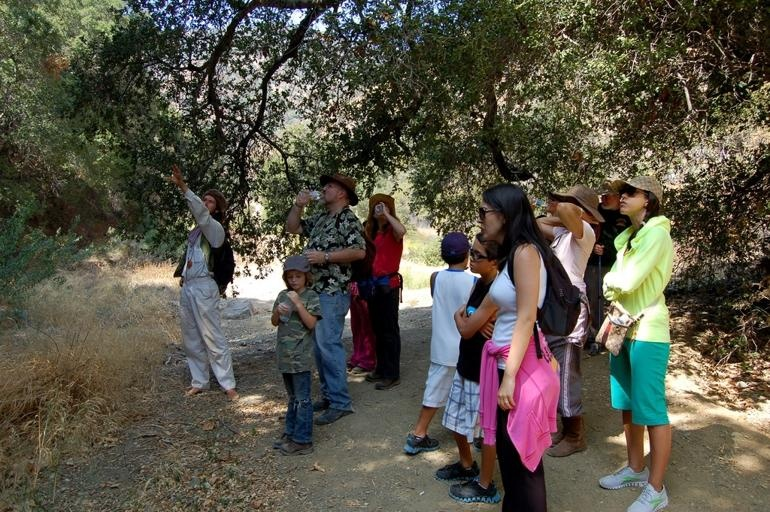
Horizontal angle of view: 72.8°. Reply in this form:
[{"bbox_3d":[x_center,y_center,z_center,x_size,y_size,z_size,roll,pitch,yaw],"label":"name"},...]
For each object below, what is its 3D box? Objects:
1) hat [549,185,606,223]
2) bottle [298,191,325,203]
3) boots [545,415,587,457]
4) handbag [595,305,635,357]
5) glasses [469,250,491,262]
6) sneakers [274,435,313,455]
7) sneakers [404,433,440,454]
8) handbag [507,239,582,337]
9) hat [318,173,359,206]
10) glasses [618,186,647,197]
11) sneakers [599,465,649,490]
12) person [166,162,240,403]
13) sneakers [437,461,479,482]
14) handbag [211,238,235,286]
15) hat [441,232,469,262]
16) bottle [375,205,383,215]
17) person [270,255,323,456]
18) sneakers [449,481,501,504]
[{"bbox_3d":[2.295,-0.632,6.046,0.473,0.208,0.514,29,-2,42],"label":"hat"},{"bbox_3d":[-0.969,-0.785,6.831,0.253,0.140,0.368,0,3,0],"label":"bottle"},{"bbox_3d":[1.933,1.957,5.823,0.429,0.441,0.382,0,-1,-8],"label":"boots"},{"bbox_3d":[2.239,0.720,5.174,0.172,0.460,0.338,15,19,-19],"label":"handbag"},{"bbox_3d":[0.918,0.002,4.989,0.132,0.042,0.134,6,6,-12],"label":"glasses"},{"bbox_3d":[-1.026,2.134,5.862,0.311,0.148,0.197,11,-2,-10],"label":"sneakers"},{"bbox_3d":[0.391,2.067,5.854,0.425,0.207,0.168,0,3,-25],"label":"sneakers"},{"bbox_3d":[1.390,0.314,4.822,0.764,0.806,0.642,2,0,21],"label":"handbag"},{"bbox_3d":[-0.553,-0.911,6.813,0.378,0.181,0.470,4,-27,50],"label":"hat"},{"bbox_3d":[2.459,-0.643,5.205,0.129,0.044,0.131,10,-1,-6],"label":"glasses"},{"bbox_3d":[2.394,2.224,5.328,0.473,0.218,0.212,1,-4,4],"label":"sneakers"},{"bbox_3d":[-2.399,0.364,7.081,0.732,3.050,0.863,-4,5,-21],"label":"person"},{"bbox_3d":[0.737,2.227,5.366,0.402,0.183,0.190,1,-7,10],"label":"sneakers"},{"bbox_3d":[-2.182,0.090,7.114,0.116,0.475,0.160,7,7,20],"label":"handbag"},{"bbox_3d":[0.757,-0.132,5.729,0.338,0.303,0.570,5,14,15],"label":"hat"},{"bbox_3d":[-0.074,-0.656,7.259,0.049,0.147,0.180,-6,6,-41],"label":"bottle"},{"bbox_3d":[-0.999,1.087,5.883,0.565,2.187,0.415,-3,5,-10],"label":"person"},{"bbox_3d":[0.868,2.327,5.122,0.443,0.196,0.224,4,-4,11],"label":"sneakers"}]
